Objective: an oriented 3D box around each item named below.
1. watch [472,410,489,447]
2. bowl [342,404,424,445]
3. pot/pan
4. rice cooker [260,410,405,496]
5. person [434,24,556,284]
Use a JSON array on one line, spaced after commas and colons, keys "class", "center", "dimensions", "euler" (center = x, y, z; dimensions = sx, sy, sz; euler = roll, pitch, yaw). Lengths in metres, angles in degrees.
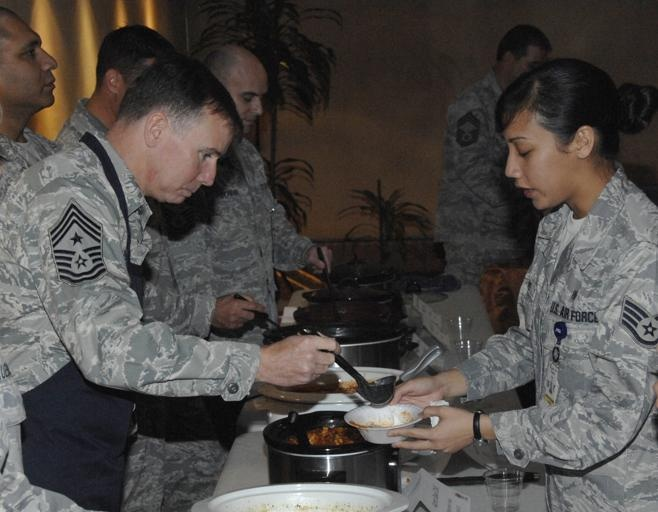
[{"class": "watch", "center": [0.372, 0.437, 1.649], "dimensions": [0.026, 0.080, 0.090], "euler": [-3, -7, 11]}, {"class": "bowl", "center": [0.152, 0.401, 1.631], "dimensions": [0.182, 0.073, 0.144], "euler": [-1, 5, -15]}, {"class": "pot/pan", "center": [0.085, 0.225, 1.947], "dimensions": [0.441, 0.386, 0.481], "euler": [2, 10, 2]}, {"class": "rice cooker", "center": [0.012, 0.431, 1.636], "dimensions": [0.316, 0.175, 0.301], "euler": [1, 2, 37]}, {"class": "person", "center": [1.042, -0.475, 4.200], "dimensions": [0.861, 1.784, 0.670], "euler": [-1, 13, 15]}]
